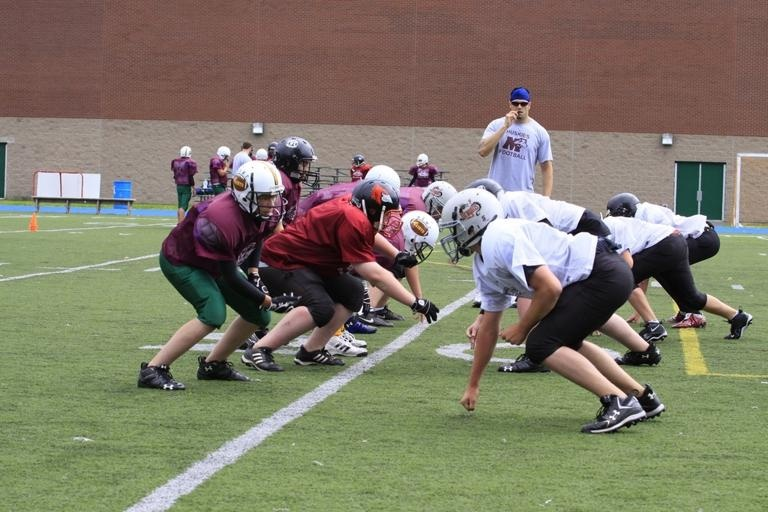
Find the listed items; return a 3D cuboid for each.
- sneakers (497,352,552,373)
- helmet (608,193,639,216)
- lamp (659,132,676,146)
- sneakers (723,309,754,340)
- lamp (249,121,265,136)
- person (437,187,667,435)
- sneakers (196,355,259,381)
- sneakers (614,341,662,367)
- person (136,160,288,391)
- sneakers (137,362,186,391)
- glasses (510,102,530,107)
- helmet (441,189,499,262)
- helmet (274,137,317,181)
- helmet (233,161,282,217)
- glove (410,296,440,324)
[{"bbox_3d":[1.228,0.961,9.005,0.648,0.198,0.195,2,-2,-5],"label":"sneakers"},{"bbox_3d":[2.526,-0.526,10.477,0.343,0.218,0.250,-18,11,3],"label":"helmet"},{"bbox_3d":[9.350,-3.901,33.310,0.498,0.347,0.415,2,-7,-3],"label":"lamp"},{"bbox_3d":[3.672,0.684,10.356,0.239,0.402,0.148,11,28,-9],"label":"sneakers"},{"bbox_3d":[-4.337,-4.387,34.387,0.520,0.373,0.424,2,-5,-1],"label":"lamp"},{"bbox_3d":[1.218,0.406,7.536,1.668,1.809,0.584,2,4,1],"label":"person"},{"bbox_3d":[-1.329,0.986,8.657,0.587,0.180,0.171,2,0,-10],"label":"sneakers"},{"bbox_3d":[2.306,0.913,9.074,0.553,0.199,0.169,1,-2,8],"label":"sneakers"},{"bbox_3d":[-1.392,0.153,8.300,1.132,1.895,0.653,2,4,-5],"label":"person"},{"bbox_3d":[-1.833,0.989,8.261,0.396,0.210,0.148,1,4,-8],"label":"sneakers"},{"bbox_3d":[1.407,-1.574,10.442,0.172,0.072,0.100,2,4,1],"label":"glasses"},{"bbox_3d":[0.652,-0.229,7.608,0.479,0.579,0.279,3,4,14],"label":"helmet"},{"bbox_3d":[-0.852,-0.903,9.310,0.535,0.376,0.386,6,13,-12],"label":"helmet"},{"bbox_3d":[-1.030,-0.538,8.139,0.407,0.459,0.159,2,4,-8],"label":"helmet"},{"bbox_3d":[0.402,0.436,8.542,0.246,0.108,0.241,7,-27,50],"label":"glove"}]
